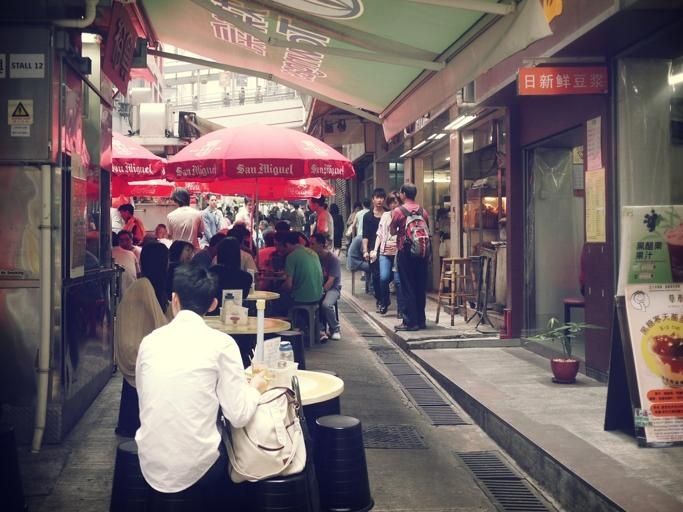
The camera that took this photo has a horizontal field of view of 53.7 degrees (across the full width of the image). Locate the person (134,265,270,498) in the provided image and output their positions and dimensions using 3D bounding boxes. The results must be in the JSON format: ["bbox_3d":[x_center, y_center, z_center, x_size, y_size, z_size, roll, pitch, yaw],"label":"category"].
[{"bbox_3d":[-0.892,0.728,4.058,0.727,1.325,0.377,-8,6,-11],"label":"person"}]

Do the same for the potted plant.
[{"bbox_3d":[2.654,1.140,7.997,0.809,0.728,0.883,1,-8,7],"label":"potted plant"}]

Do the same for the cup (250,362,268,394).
[{"bbox_3d":[-0.504,0.761,4.185,0.086,0.171,0.161,1,2,2],"label":"cup"}]

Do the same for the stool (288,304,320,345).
[{"bbox_3d":[-0.567,1.079,10.852,0.524,0.788,0.566,-1,5,2],"label":"stool"}]

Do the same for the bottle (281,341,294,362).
[{"bbox_3d":[-0.363,0.633,4.447,0.084,0.163,0.197,-7,6,-7],"label":"bottle"}]

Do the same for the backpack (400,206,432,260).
[{"bbox_3d":[1.113,-0.373,10.497,0.432,0.710,0.642,-2,2,-13],"label":"backpack"}]

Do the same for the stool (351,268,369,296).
[{"bbox_3d":[0.504,0.719,18.189,0.531,0.648,0.502,-1,-1,-20],"label":"stool"}]

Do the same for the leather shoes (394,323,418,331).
[{"bbox_3d":[1.043,1.147,10.701,0.315,0.125,0.142,5,0,12],"label":"leather shoes"}]

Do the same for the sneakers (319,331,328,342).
[{"bbox_3d":[-0.296,1.327,11.097,0.096,0.142,0.314,-1,-13,-1],"label":"sneakers"}]
